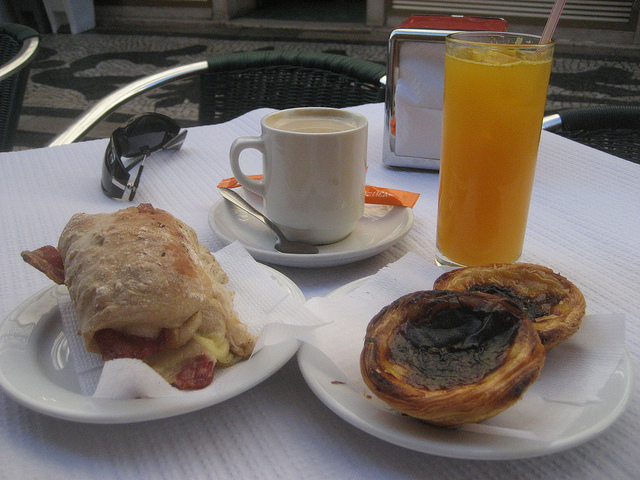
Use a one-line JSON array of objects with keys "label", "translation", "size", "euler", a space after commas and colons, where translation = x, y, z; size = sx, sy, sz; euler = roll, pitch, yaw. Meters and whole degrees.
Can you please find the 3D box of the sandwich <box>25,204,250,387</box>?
[{"label": "sandwich", "translation": [-0.207, 0.035, 0.640], "size": [0.253, 0.083, 0.286], "euler": [-7, 41, -36]}]
